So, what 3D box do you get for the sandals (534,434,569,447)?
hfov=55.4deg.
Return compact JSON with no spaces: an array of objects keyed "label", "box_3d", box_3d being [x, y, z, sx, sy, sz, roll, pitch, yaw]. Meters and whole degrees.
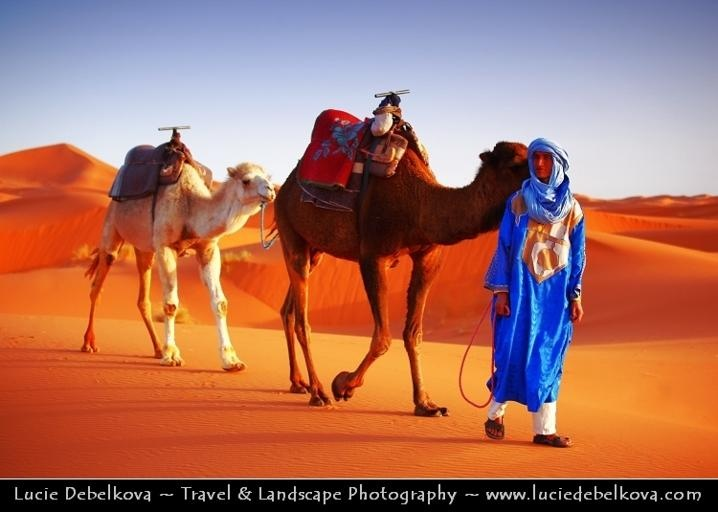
[{"label":"sandals","box_3d":[2.030,1.949,7.186,0.331,0.107,0.139,0,0,0]}]
